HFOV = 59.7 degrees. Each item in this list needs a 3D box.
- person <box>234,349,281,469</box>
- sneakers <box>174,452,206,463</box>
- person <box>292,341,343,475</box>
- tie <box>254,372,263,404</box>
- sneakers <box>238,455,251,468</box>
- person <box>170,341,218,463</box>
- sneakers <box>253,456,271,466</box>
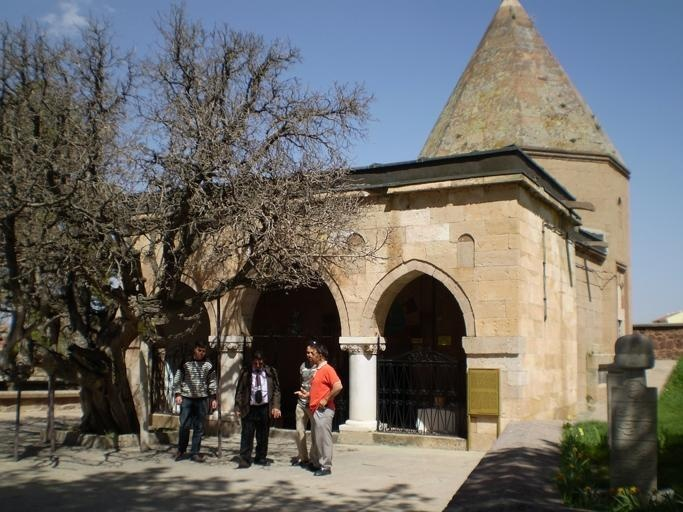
[{"bbox_3d":[-1.471,2.649,10.286,0.748,1.913,0.448,7,-2,-12],"label":"person"},{"bbox_3d":[-2.730,3.608,10.653,0.425,0.190,0.135,13,-8,16],"label":"sneakers"},{"bbox_3d":[-0.391,2.509,9.856,0.682,2.015,0.769,7,-2,-1],"label":"person"},{"bbox_3d":[-1.433,2.292,10.326,0.159,0.551,0.068,7,-2,-9],"label":"tie"},{"bbox_3d":[-1.654,3.478,10.063,0.095,0.188,0.281,-7,-34,5],"label":"sneakers"},{"bbox_3d":[-2.651,2.608,10.652,0.735,2.134,0.444,7,-2,-11],"label":"person"},{"bbox_3d":[-1.392,3.569,10.384,0.244,0.160,0.132,0,-4,3],"label":"sneakers"}]
